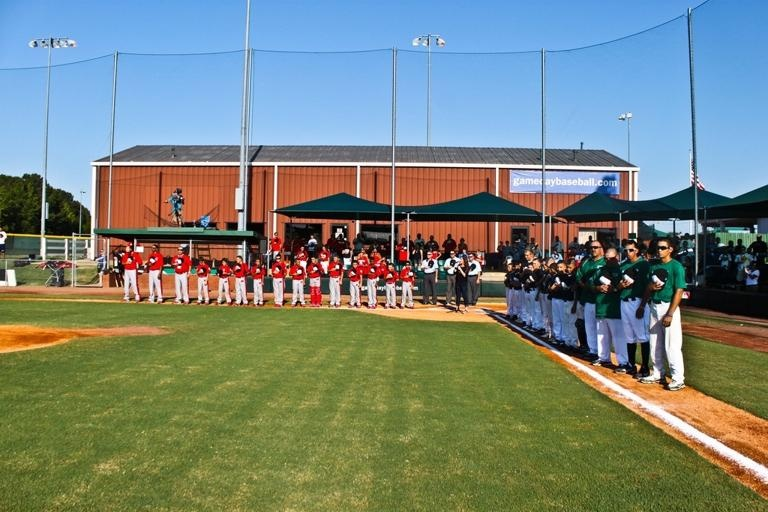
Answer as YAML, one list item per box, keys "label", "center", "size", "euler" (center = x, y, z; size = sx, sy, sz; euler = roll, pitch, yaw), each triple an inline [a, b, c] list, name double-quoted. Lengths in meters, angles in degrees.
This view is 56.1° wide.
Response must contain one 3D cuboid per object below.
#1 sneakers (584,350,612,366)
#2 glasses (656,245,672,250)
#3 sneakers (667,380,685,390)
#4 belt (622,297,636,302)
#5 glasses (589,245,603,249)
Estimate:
- label: "sneakers"
  center: [4.493, 2.173, 15.245]
  size: [0.491, 0.205, 0.181]
  euler: [4, 1, 11]
- label: "glasses"
  center: [5.154, -0.157, 13.254]
  size: [0.235, 0.072, 0.054]
  euler: [0, 13, -8]
- label: "sneakers"
  center: [5.408, 2.377, 13.303]
  size: [0.351, 0.159, 0.132]
  euler: [2, 0, -7]
- label: "belt"
  center: [4.720, 0.844, 13.941]
  size: [0.220, 0.114, 0.032]
  euler: [7, 13, 20]
- label: "glasses"
  center: [4.455, -0.210, 15.068]
  size: [0.240, 0.095, 0.125]
  euler: [-4, 14, -25]
